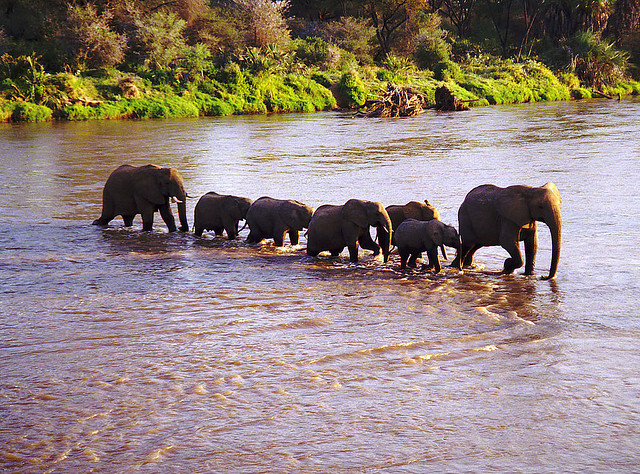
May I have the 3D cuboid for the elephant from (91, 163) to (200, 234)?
[{"bbox_3d":[-3.248,-0.685,16.647,1.725,1.255,0.596,2,6,24],"label":"elephant"}]

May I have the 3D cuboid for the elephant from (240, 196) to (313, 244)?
[{"bbox_3d":[-0.689,-0.175,15.605,1.589,0.719,0.524,4,9,15],"label":"elephant"}]

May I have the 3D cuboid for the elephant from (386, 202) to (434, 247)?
[{"bbox_3d":[1.521,-0.280,14.928,0.982,0.472,0.528,-3,13,14],"label":"elephant"}]

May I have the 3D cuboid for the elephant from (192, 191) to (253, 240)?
[{"bbox_3d":[-1.611,-0.317,16.315,1.517,0.728,0.679,1,8,19],"label":"elephant"}]

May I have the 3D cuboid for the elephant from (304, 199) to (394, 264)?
[{"bbox_3d":[0.513,-0.018,14.813,1.827,0.944,0.770,-4,-8,27],"label":"elephant"}]

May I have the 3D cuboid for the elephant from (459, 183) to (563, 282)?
[{"bbox_3d":[2.933,-0.085,13.798,0.701,1.453,1.632,-5,7,-41],"label":"elephant"}]

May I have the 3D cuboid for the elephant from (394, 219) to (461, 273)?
[{"bbox_3d":[1.744,0.160,13.968,1.207,0.711,0.526,2,9,27],"label":"elephant"}]

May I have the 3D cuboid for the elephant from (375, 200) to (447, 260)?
[{"bbox_3d":[1.530,-0.133,15.026,1.522,0.789,0.724,4,2,28],"label":"elephant"}]
